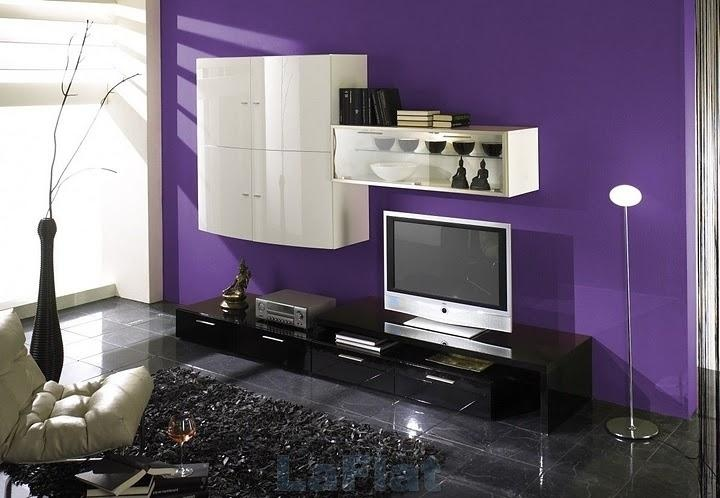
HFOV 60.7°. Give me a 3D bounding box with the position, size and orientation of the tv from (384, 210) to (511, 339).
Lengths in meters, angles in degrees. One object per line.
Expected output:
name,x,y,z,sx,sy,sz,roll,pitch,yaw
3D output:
tv,0.779,0.224,5.254,1.078,0.738,0.285,5,9,34

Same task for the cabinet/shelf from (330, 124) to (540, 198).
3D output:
cabinet/shelf,0.634,-0.802,5.440,1.821,0.545,0.456,8,17,27

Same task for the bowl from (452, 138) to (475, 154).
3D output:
bowl,0.872,-0.860,5.156,0.126,0.078,0.126,-1,9,0

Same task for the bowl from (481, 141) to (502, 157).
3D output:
bowl,1.077,-0.810,4.978,0.126,0.074,0.125,0,10,0

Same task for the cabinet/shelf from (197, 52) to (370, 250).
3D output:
cabinet/shelf,-0.700,-0.995,6.019,2.008,1.894,0.736,4,6,34

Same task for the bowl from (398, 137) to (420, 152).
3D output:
bowl,0.430,-0.922,5.451,0.135,0.077,0.134,-1,6,0

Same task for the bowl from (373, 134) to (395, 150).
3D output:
bowl,0.221,-0.959,5.558,0.147,0.094,0.145,1,9,0

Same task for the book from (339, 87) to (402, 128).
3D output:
book,0.062,-1.296,5.611,0.368,0.161,0.489,7,10,32
